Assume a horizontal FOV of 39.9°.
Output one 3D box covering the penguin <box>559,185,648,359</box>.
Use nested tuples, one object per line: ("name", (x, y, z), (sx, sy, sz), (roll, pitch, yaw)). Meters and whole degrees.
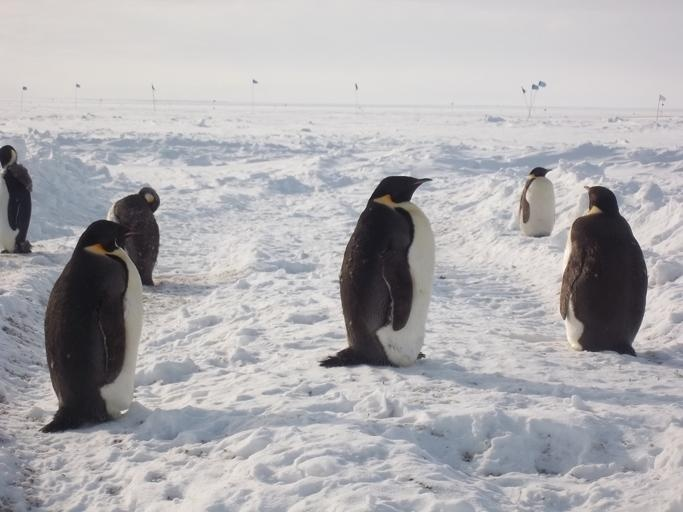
("penguin", (3.514, 0.202, 12.570), (1.087, 2.170, 0.439), (4, 8, 13))

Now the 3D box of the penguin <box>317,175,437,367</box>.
("penguin", (0.360, 0.123, 12.246), (1.392, 2.273, 1.324), (2, 19, -5))

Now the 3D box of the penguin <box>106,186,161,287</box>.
("penguin", (-3.289, -0.482, 15.532), (1.132, 1.897, 1.107), (-4, 19, -16))

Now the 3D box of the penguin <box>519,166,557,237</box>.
("penguin", (3.681, -0.997, 17.685), (0.678, 1.345, 0.742), (2, 2, 41))
